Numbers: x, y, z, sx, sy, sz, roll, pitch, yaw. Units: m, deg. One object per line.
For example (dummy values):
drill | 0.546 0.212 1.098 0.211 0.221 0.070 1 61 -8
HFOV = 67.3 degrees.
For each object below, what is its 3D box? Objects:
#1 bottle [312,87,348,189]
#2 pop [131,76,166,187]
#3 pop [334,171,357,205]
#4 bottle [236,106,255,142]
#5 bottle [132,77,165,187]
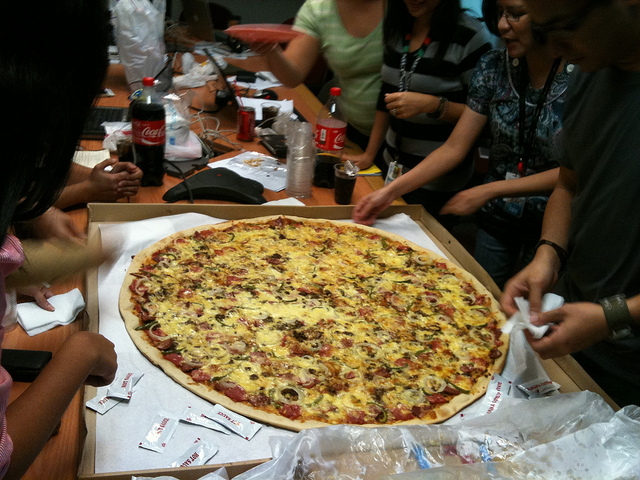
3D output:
bottle | 0.062 -0.590 2.805 0.273 0.598 0.274 5 27 -2
pop | -0.868 -0.549 2.523 0.208 0.571 0.180 6 28 -8
pop | 0.135 -0.302 2.644 0.119 0.211 0.145 9 45 -1
bottle | -0.483 -0.775 3.198 0.195 0.207 0.168 3 33 -8
bottle | -0.865 -0.553 2.511 0.190 0.552 0.177 5 29 -3
